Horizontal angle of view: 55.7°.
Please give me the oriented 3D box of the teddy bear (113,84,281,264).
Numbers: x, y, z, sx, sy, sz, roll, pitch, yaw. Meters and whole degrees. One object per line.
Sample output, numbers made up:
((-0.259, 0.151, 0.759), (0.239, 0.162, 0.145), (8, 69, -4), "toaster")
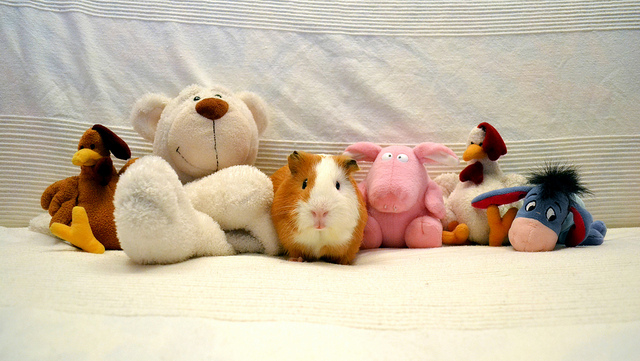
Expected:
((-0.549, -0.005, 3.043), (0.984, 0.901, 0.769), (1, -16, -23), "teddy bear")

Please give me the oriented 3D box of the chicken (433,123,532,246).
((0.770, 0.038, 2.884), (0.322, 0.643, 0.354), (0, 2, 5), "chicken")

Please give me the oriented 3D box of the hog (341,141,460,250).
((0.363, 0.087, 3.022), (0.752, 0.562, 0.475), (-2, -2, 5), "hog")

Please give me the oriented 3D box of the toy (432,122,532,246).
((0.778, 0.042, 2.896), (0.417, 0.516, 0.495), (23, -25, -38), "toy")

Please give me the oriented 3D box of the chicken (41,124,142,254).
((-1.034, 0.043, 2.782), (0.531, 0.566, 0.319), (-7, 4, -28), "chicken")

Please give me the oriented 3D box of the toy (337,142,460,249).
((0.423, 0.087, 2.981), (0.454, 0.541, 0.579), (1, 2, 18), "toy")

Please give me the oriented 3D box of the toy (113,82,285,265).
((-0.516, 0.003, 2.836), (0.649, 0.855, 0.804), (1, 2, -7), "toy")

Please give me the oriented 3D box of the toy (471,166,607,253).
((1.084, 0.125, 2.891), (0.518, 0.339, 0.644), (13, 12, 36), "toy")
